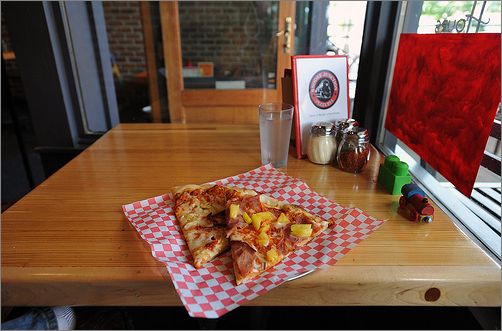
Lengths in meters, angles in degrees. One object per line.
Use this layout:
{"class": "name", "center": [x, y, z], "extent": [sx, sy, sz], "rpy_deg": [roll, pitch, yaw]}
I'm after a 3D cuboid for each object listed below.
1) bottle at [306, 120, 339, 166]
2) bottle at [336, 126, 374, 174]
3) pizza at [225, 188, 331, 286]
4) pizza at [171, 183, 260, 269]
{"class": "bottle", "center": [0.298, -0.097, 1.384], "extent": [0.130, 0.154, 0.119], "rpy_deg": [-2, 24, 1]}
{"class": "bottle", "center": [0.411, -0.065, 1.322], "extent": [0.134, 0.164, 0.119], "rpy_deg": [1, 22, 3]}
{"class": "pizza", "center": [0.037, 0.187, 1.042], "extent": [0.349, 0.154, 0.245], "rpy_deg": [-16, 30, -33]}
{"class": "pizza", "center": [-0.118, 0.184, 1.093], "extent": [0.253, 0.037, 0.249], "rpy_deg": [-17, 45, -22]}
